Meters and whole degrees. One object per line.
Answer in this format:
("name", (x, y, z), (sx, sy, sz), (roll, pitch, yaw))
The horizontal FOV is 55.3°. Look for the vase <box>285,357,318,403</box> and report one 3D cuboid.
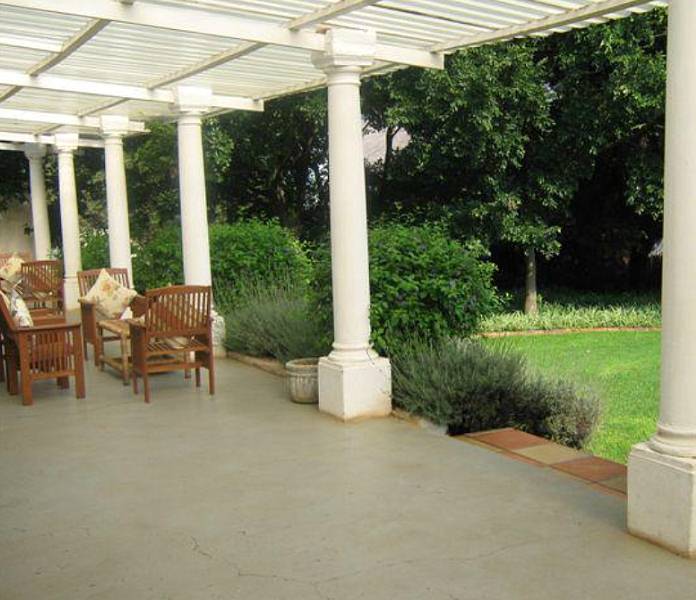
("vase", (-0.472, 0.861, 7.001), (0.444, 0.407, 0.464), (-1, 6, -21))
